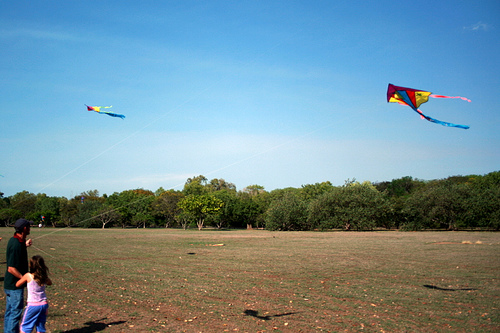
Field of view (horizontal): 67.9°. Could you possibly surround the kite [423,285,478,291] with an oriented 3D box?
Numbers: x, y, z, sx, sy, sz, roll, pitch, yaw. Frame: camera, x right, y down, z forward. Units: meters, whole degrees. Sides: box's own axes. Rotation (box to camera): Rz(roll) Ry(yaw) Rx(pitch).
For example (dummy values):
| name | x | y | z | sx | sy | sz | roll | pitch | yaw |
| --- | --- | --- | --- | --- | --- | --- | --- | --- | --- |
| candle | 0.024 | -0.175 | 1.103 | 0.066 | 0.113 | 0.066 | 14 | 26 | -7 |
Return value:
| name | x | y | z | sx | sy | sz | roll | pitch | yaw |
| --- | --- | --- | --- | --- | --- | --- | --- | --- | --- |
| kite | 11.310 | 6.908 | 21.179 | 2.447 | 0.142 | 0.935 | -4 | -9 | 22 |
